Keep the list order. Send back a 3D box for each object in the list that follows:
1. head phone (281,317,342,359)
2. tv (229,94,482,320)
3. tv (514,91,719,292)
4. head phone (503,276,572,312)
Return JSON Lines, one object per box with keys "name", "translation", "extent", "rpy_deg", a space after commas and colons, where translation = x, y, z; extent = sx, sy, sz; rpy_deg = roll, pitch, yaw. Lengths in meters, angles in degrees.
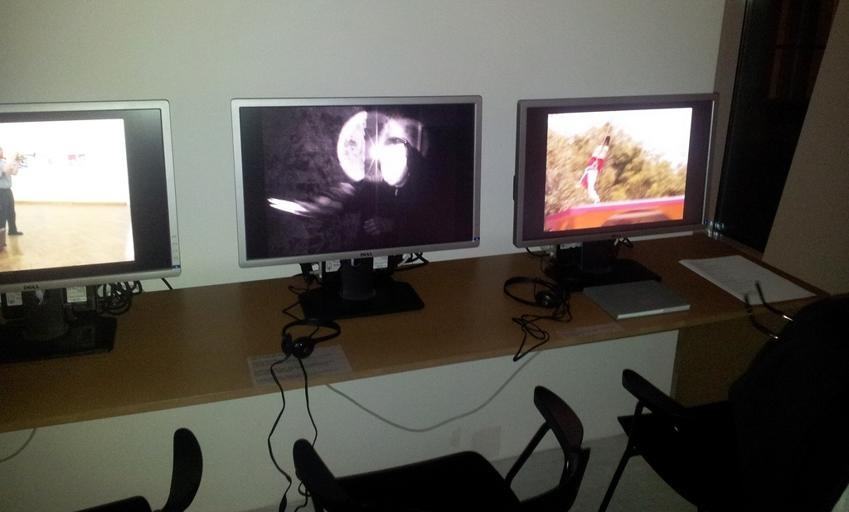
{"name": "head phone", "translation": [-0.452, 0.313, 2.380], "extent": [0.152, 0.077, 0.166], "rpy_deg": [9, 19, 34]}
{"name": "tv", "translation": [-0.290, -0.227, 2.523], "extent": [0.915, 0.729, 0.318], "rpy_deg": [-3, 13, -15]}
{"name": "tv", "translation": [0.858, -0.309, 2.808], "extent": [1.004, 0.845, 0.321], "rpy_deg": [-6, 25, -13]}
{"name": "head phone", "translation": [0.477, 0.155, 2.646], "extent": [0.191, 0.055, 0.155], "rpy_deg": [20, 27, 28]}
